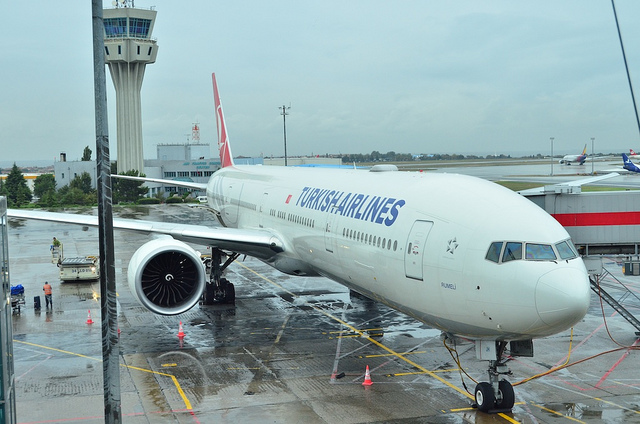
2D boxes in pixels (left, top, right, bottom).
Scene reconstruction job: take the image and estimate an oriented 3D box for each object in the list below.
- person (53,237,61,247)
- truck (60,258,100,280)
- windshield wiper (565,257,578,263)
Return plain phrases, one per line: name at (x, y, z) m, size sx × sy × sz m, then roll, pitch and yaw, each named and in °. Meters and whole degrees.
person at (-20.120, 2.285, 49.609) m, size 0.862 × 0.539 × 0.998 m, roll -4°, pitch 8°, yaw -14°
truck at (-14.319, 3.365, 38.863) m, size 2.034 × 0.649 × 1.751 m, roll 0°, pitch 0°, yaw -8°
windshield wiper at (7.339, 1.372, 18.844) m, size 0.504 × 0.085 × 0.062 m, roll -7°, pitch 12°, yaw -35°
